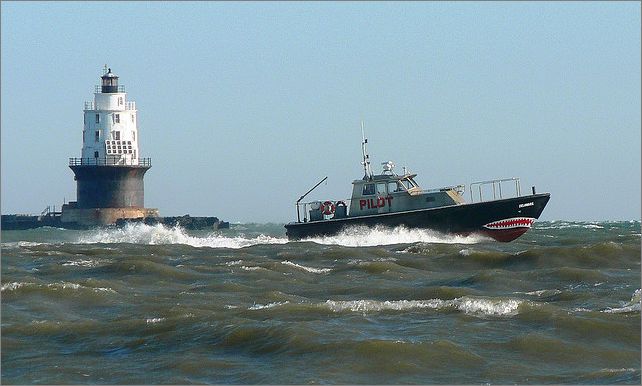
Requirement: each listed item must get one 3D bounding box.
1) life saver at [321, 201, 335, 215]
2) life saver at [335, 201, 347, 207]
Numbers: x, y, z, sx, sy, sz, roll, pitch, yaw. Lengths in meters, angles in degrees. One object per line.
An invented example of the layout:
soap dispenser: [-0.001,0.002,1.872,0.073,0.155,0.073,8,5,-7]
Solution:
life saver: [0.352,0.614,45.863,0.808,0.696,0.404,0,-3,-1]
life saver: [0.897,0.494,48.423,0.347,0.206,0.347,-2,-2,37]
